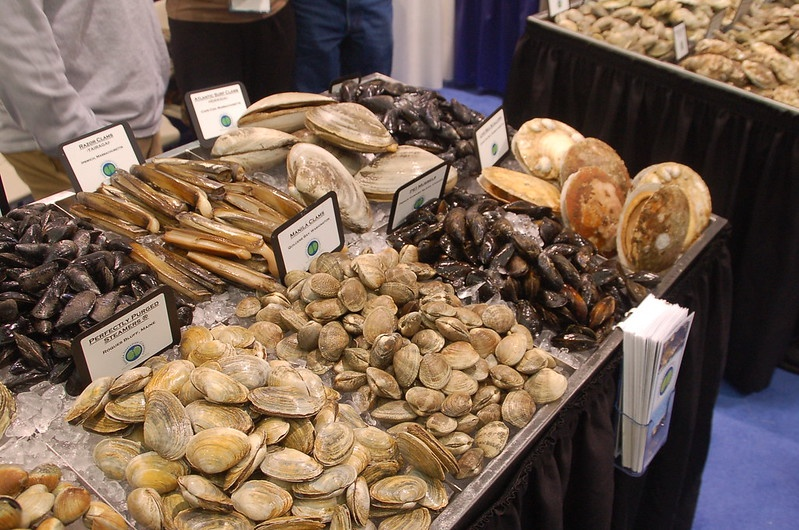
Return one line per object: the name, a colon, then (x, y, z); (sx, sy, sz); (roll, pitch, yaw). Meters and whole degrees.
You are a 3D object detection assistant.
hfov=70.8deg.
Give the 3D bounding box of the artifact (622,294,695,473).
artifact: (1.007, 0.501, 2.349); (0.273, 0.671, 0.375); (20, 43, 23)
